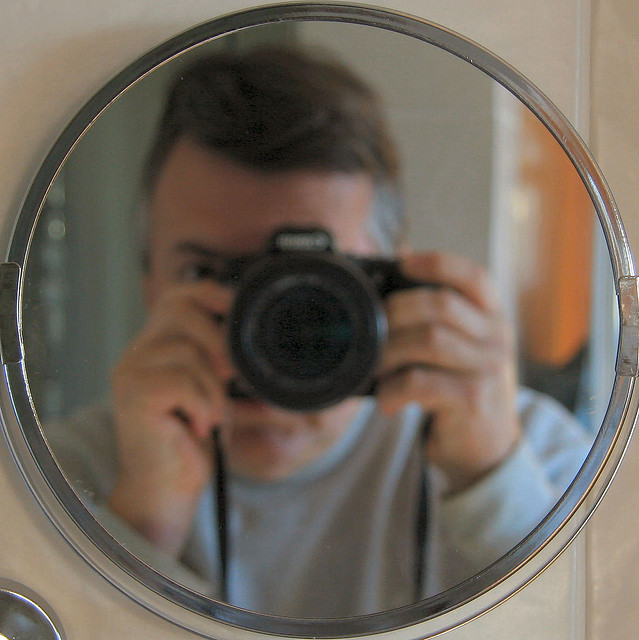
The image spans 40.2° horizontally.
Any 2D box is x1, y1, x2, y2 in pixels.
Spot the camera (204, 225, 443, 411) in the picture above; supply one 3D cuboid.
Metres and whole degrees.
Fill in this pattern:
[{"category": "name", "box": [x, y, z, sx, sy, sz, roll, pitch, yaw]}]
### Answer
[{"category": "camera", "box": [-0.024, -0.006, 1.218, 0.468, 0.148, 0.213, -2, 92, -3]}]
